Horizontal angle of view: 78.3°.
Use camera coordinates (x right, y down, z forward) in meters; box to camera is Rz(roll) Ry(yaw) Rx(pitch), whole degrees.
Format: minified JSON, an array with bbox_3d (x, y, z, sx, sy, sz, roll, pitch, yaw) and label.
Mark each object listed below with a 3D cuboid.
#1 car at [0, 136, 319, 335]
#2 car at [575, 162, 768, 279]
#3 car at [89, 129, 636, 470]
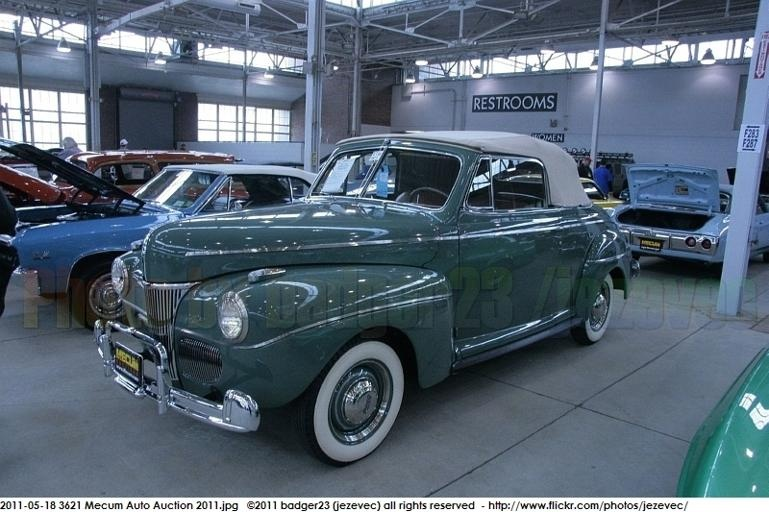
[{"bbox_3d":[-2.941,-0.219,6.448,3.923,1.803,1.992,-3,4,-34],"label":"car"},{"bbox_3d":[5.241,-0.765,8.489,2.039,1.318,3.597,9,6,43],"label":"car"},{"bbox_3d":[0.069,0.212,4.573,4.558,1.827,2.551,-4,3,-33],"label":"car"}]
